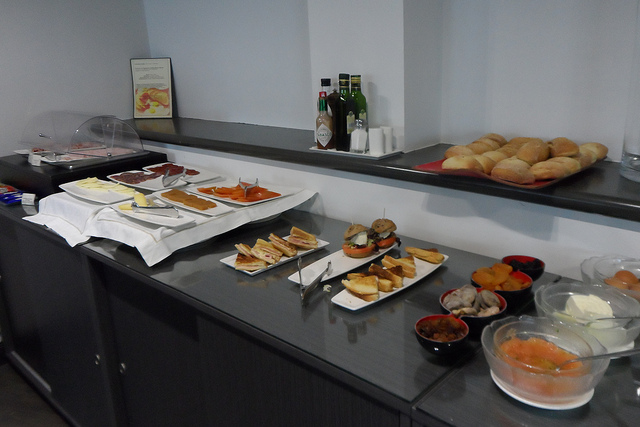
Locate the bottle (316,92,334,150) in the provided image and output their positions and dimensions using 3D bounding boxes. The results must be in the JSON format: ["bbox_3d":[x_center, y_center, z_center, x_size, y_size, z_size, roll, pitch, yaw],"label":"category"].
[{"bbox_3d":[0.015,-0.381,1.696,0.075,0.232,0.033,-1,20,8],"label":"bottle"}]

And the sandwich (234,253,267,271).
[{"bbox_3d":[-0.247,0.177,1.455,0.117,0.038,0.059,2,20,15],"label":"sandwich"}]

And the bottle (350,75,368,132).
[{"bbox_3d":[0.161,-0.444,1.661,0.075,0.218,0.045,-8,20,-12],"label":"bottle"}]

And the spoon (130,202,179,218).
[{"bbox_3d":[-0.664,-0.013,1.625,0.215,0.052,0.029,1,20,12],"label":"spoon"}]

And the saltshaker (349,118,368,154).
[{"bbox_3d":[0.154,-0.320,1.674,0.074,0.135,0.094,0,20,9],"label":"saltshaker"}]

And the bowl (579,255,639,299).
[{"bbox_3d":[0.809,0.182,1.153,0.127,0.050,0.127,-2,15,1],"label":"bowl"}]

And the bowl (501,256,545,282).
[{"bbox_3d":[0.630,0.178,1.298,0.167,0.062,0.167,-9,3,1],"label":"bowl"}]

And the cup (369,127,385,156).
[{"bbox_3d":[0.231,-0.296,1.647,0.077,0.127,0.079,2,18,-1],"label":"cup"}]

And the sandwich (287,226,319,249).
[{"bbox_3d":[-0.060,0.096,1.555,0.096,0.031,0.082,30,54,13],"label":"sandwich"}]

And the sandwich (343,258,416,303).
[{"bbox_3d":[0.198,0.207,1.313,0.243,0.069,0.097,-17,23,-33],"label":"sandwich"}]

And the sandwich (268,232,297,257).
[{"bbox_3d":[-0.141,0.127,1.554,0.085,0.030,0.085,35,19,21],"label":"sandwich"}]

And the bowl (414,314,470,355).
[{"bbox_3d":[0.320,0.318,1.073,0.138,0.079,0.115,-15,23,-30],"label":"bowl"}]

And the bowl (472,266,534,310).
[{"bbox_3d":[0.544,0.204,1.220,0.138,0.075,0.137,0,10,0],"label":"bowl"}]

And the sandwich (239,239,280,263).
[{"bbox_3d":[-0.205,0.137,1.507,0.086,0.031,0.086,23,7,24],"label":"sandwich"}]

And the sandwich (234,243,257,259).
[{"bbox_3d":[-0.271,0.130,1.508,0.050,0.020,0.054,-2,31,-47],"label":"sandwich"}]

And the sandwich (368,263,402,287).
[{"bbox_3d":[0.213,0.195,1.299,0.074,0.021,0.078,8,12,-39],"label":"sandwich"}]

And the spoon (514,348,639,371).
[{"bbox_3d":[0.575,0.334,0.938,0.196,0.027,0.046,-17,13,22],"label":"spoon"}]

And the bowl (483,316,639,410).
[{"bbox_3d":[0.517,0.333,0.958,0.318,0.126,0.195,7,24,26],"label":"bowl"}]

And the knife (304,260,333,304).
[{"bbox_3d":[-0.006,0.230,1.339,0.008,0.076,0.137,15,51,23],"label":"knife"}]

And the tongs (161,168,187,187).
[{"bbox_3d":[-0.725,-0.177,2.013,0.073,0.028,0.103,30,39,31],"label":"tongs"}]

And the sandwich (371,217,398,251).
[{"bbox_3d":[0.230,0.068,1.525,0.108,0.098,0.105,9,28,22],"label":"sandwich"}]

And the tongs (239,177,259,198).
[{"bbox_3d":[-0.325,-0.121,1.834,0.086,0.065,0.080,-10,19,-28],"label":"tongs"}]
